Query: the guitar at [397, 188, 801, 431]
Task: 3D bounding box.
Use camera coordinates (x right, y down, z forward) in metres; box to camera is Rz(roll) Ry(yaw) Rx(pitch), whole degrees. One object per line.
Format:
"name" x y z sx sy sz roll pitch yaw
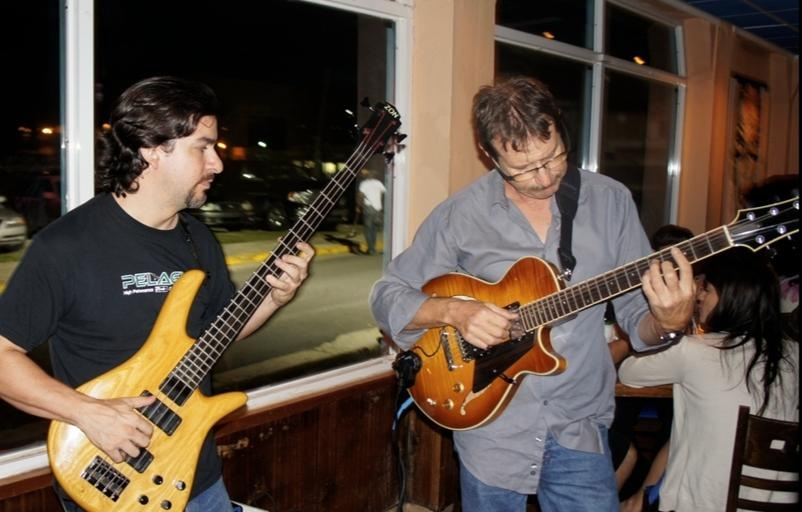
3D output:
"guitar" 0.909 0.277 2.947 1.418 0.530 0.203 -25 -12 12

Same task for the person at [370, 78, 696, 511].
"person" 0.579 0.188 2.831 1.311 2.012 0.561 -1 9 -1
